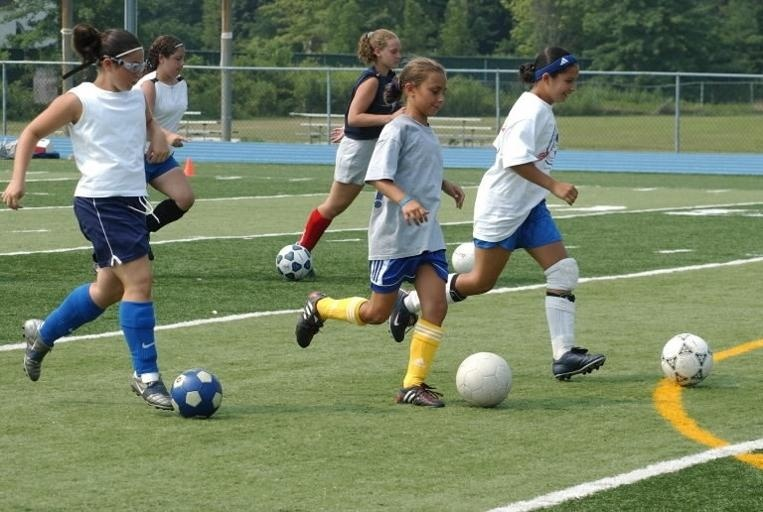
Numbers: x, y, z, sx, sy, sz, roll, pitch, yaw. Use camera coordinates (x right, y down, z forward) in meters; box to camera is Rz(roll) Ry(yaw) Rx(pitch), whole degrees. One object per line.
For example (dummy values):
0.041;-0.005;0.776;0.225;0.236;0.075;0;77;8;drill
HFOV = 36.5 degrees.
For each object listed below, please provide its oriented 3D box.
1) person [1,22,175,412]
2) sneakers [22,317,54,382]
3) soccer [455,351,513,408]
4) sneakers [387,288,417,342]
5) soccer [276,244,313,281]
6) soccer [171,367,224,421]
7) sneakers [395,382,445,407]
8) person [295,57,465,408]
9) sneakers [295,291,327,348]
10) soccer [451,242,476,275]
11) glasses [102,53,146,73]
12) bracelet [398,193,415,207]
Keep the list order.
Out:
-2.016;-0.292;7.890;0.998;2.502;1.352;-3;14;-12;person
-2.453;0.647;8.105;0.275;0.450;0.163;0;3;12;sneakers
0.650;0.830;7.950;0.446;0.381;0.412;0;4;-23;soccer
0.141;0.475;8.804;0.230;0.420;0.155;12;15;9;sneakers
-0.901;0.090;11.621;0.354;0.352;0.342;3;6;19;soccer
-1.248;0.929;7.677;0.363;0.310;0.325;9;-3;-32;soccer
0.261;0.944;7.887;0.268;0.097;0.161;2;-3;11;sneakers
0.096;-0.205;8.062;0.731;2.301;1.240;-6;15;-24;person
-0.597;0.476;8.716;0.172;0.449;0.197;23;29;-12;sneakers
0.831;0.003;11.757;0.299;0.299;0.277;18;18;-1;soccer
-1.726;-1.289;7.844;0.168;0.045;0.121;20;6;-4;glasses
0.149;-0.361;7.708;0.109;0.065;0.092;-17;-23;-42;bracelet
